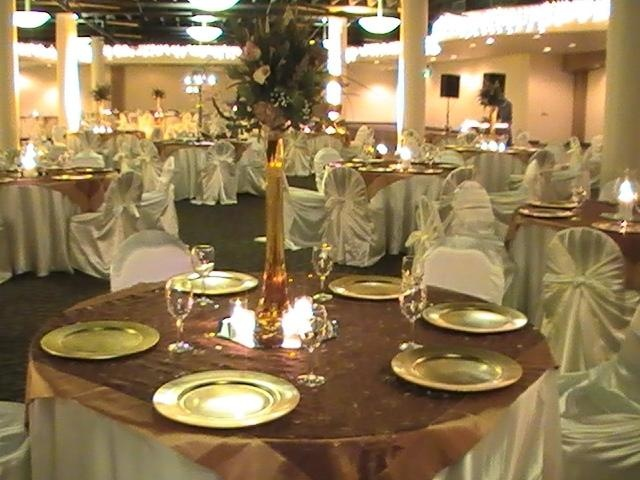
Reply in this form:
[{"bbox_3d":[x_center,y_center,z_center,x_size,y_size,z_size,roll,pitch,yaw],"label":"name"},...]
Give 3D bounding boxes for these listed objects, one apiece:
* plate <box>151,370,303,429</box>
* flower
[{"bbox_3d":[-0.267,0.465,1.507,0.413,0.054,0.286,1,7,2],"label":"plate"},{"bbox_3d":[-0.119,-0.541,1.837,0.448,0.579,0.456,-2,11,-12],"label":"flower"}]
